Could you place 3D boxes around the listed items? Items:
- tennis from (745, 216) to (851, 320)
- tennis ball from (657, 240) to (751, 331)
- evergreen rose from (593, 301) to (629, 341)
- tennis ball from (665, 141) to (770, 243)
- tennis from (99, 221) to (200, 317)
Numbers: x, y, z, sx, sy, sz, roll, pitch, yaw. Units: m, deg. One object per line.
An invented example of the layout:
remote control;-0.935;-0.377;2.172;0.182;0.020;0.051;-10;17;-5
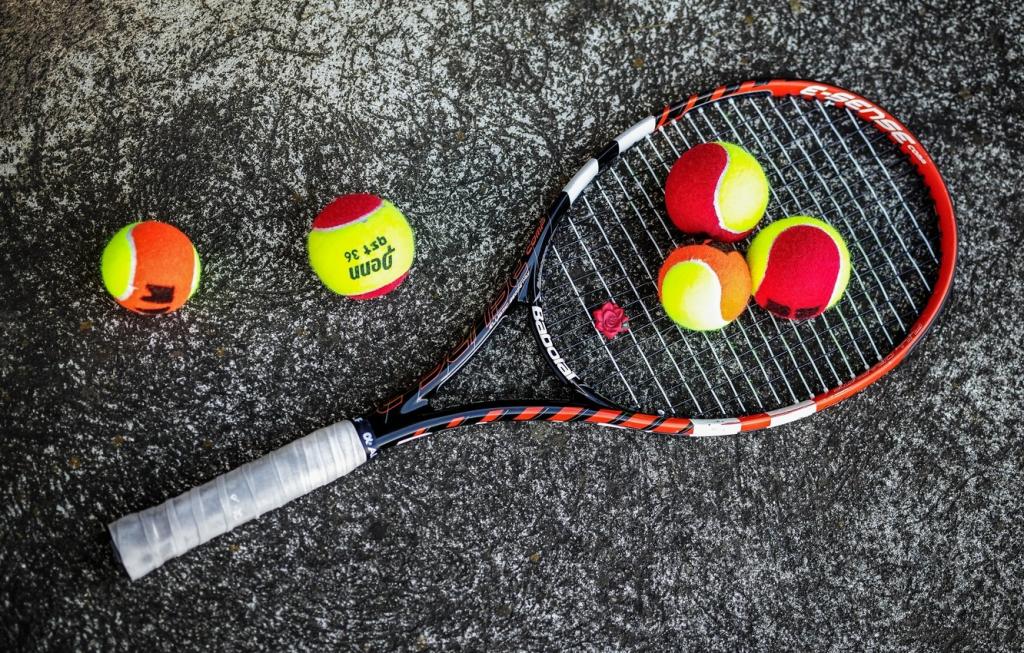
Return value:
tennis;0.826;-0.169;2.954;0.277;0.083;0.288;-12;86;3
tennis ball;0.581;-0.145;3.023;0.253;0.277;0.263;15;23;-6
evergreen rose;0.302;-0.018;3.159;0.104;0.024;0.107;-24;85;2
tennis ball;0.593;-0.377;3.055;0.269;0.270;0.290;10;71;-32
tennis;-1.054;-0.176;3.059;0.253;0.262;0.268;-13;60;-32
